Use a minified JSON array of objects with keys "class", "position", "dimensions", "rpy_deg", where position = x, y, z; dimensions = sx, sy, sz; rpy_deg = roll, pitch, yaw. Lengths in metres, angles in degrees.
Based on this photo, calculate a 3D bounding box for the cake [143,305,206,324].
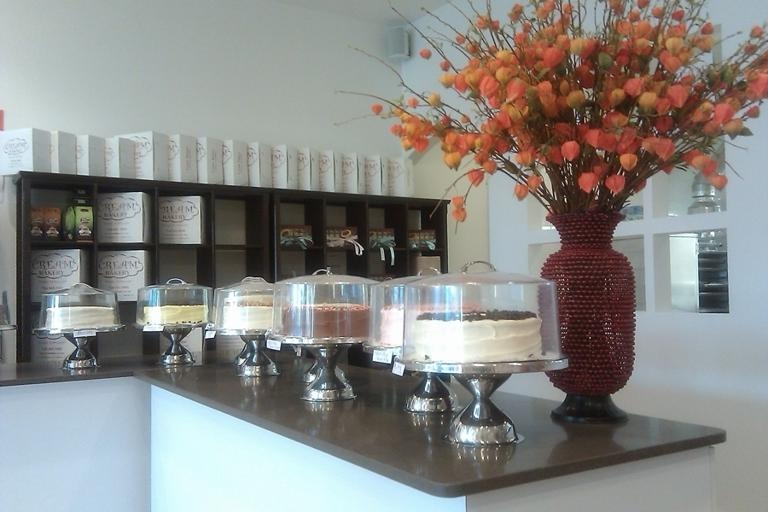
[{"class":"cake","position":[-1.278,0.355,3.780],"dimensions":[0.370,0.122,0.118],"rpy_deg":[-3,2,-22]}]

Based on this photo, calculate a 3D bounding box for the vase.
[{"class":"vase","position":[0.762,0.228,2.356],"dimensions":[0.332,0.795,0.232],"rpy_deg":[-3,2,-21]}]

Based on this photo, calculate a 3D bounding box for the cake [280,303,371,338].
[{"class":"cake","position":[-0.266,0.290,2.795],"dimensions":[0.391,0.154,0.103],"rpy_deg":[-2,2,-3]}]

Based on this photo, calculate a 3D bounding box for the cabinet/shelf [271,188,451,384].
[{"class":"cabinet/shelf","position":[-0.199,0.058,5.744],"dimensions":[1.391,1.278,0.412],"rpy_deg":[-1,13,-12]}]

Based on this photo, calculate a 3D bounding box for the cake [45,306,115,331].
[{"class":"cake","position":[-1.765,0.355,3.578],"dimensions":[0.364,0.142,0.136],"rpy_deg":[-3,2,-27]}]
